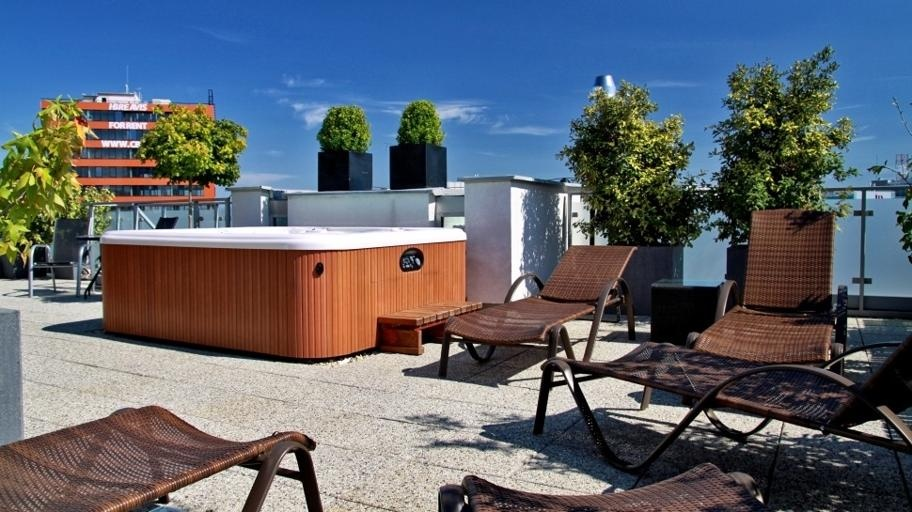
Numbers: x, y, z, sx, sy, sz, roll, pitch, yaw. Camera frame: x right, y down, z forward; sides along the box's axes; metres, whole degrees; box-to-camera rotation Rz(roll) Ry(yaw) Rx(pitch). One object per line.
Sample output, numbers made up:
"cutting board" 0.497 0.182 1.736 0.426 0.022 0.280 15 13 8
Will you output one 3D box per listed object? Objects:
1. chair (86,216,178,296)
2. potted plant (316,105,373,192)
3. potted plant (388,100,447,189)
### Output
"chair" -5.899 -0.045 12.270 1.447 1.287 1.880 4 6 34
"potted plant" -2.533 -2.528 15.797 1.264 2.033 1.867 0 6 -9
"potted plant" -0.790 -2.384 14.505 1.199 1.911 1.365 1 6 6
